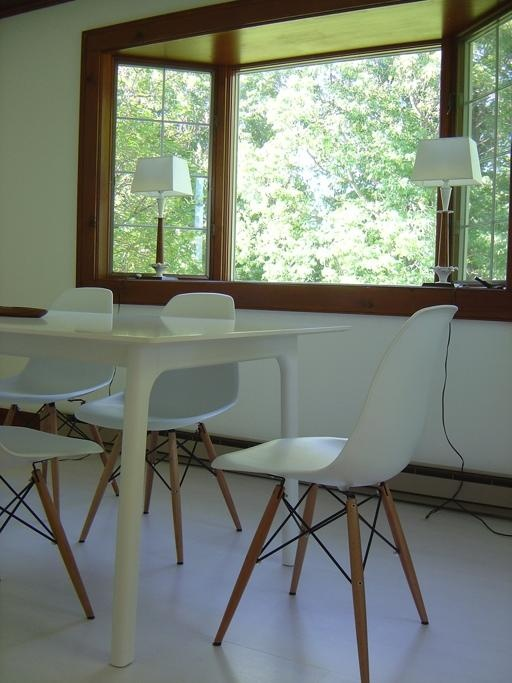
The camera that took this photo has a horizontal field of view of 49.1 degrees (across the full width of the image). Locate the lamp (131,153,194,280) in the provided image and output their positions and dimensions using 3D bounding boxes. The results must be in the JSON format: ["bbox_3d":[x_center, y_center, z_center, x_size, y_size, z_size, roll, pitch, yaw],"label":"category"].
[{"bbox_3d":[-0.460,-0.638,2.941,0.269,0.600,0.319,7,10,29],"label":"lamp"}]

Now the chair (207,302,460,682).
[{"bbox_3d":[0.251,0.239,1.433,0.697,0.982,0.604,1,-1,26],"label":"chair"}]

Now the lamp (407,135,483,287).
[{"bbox_3d":[0.810,-0.567,2.435,0.285,0.627,0.465,5,9,20],"label":"lamp"}]
